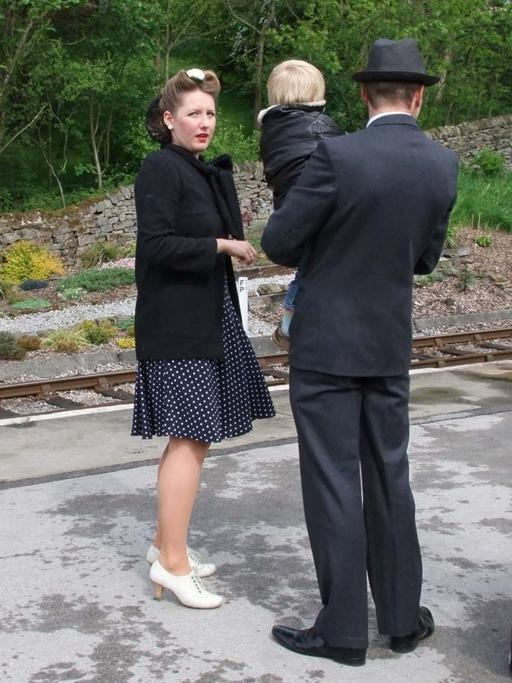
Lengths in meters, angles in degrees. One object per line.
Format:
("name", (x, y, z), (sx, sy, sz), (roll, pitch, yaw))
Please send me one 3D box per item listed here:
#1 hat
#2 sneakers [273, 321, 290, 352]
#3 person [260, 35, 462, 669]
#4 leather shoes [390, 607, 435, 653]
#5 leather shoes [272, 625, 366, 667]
("hat", (0.456, -0.889, 2.326), (0.311, 0.120, 0.339), (11, 25, 30))
("sneakers", (0.094, -0.023, 3.874), (0.120, 0.150, 0.172), (0, -5, -4))
("person", (0.339, 0.046, 2.354), (0.636, 1.975, 0.400), (-1, 10, -8))
("leather shoes", (0.551, 0.972, 2.502), (0.081, 0.118, 0.196), (4, 23, 24))
("leather shoes", (0.204, 0.990, 2.467), (0.317, 0.107, 0.100), (8, 10, 26))
